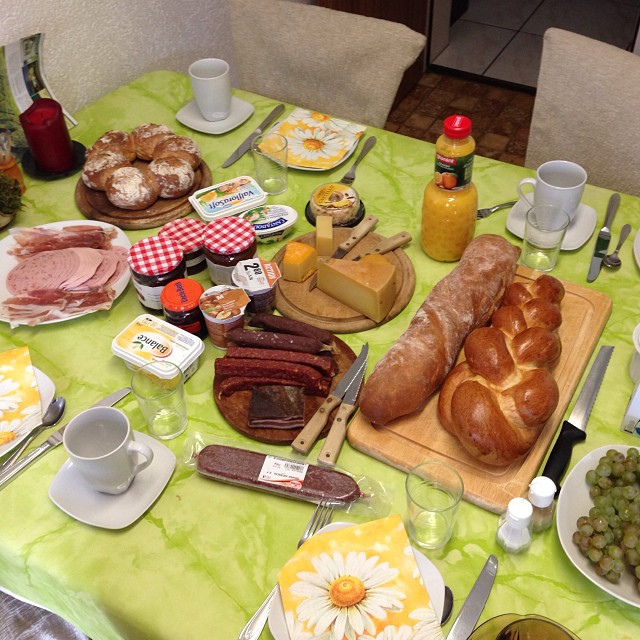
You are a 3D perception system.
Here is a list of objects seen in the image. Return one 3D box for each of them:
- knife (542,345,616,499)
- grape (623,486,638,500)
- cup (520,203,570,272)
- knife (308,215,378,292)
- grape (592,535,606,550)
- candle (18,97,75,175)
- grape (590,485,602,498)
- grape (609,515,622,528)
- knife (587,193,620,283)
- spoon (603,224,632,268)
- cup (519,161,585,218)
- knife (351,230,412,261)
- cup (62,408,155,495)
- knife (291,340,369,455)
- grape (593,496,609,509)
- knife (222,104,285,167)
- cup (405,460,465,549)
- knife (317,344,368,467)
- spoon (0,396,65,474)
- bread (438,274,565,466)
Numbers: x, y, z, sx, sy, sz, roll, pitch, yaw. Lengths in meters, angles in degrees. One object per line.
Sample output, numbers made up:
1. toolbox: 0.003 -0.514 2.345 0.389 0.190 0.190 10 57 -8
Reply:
1. knife: 0.465 0.192 1.013 0.062 0.021 0.396 24 56 28
2. grape: 0.465 0.259 0.843 0.018 0.010 0.018 1 41 -1
3. cup: 0.534 -0.197 1.345 0.104 0.136 0.144 17 50 15
4. knife: 0.055 -0.153 1.346 0.044 0.014 0.334 30 52 23
5. grape: 0.399 0.317 0.803 0.021 0.010 0.017 1 49 7
6. candle: -0.811 -0.541 1.672 0.149 0.180 0.153 -33 56 -25
7. grape: 0.435 0.271 0.889 0.019 0.009 0.017 20 52 -12
8. grape: 0.431 0.294 0.820 0.018 0.009 0.015 10 73 -3
9. knife: 0.697 -0.197 1.385 0.066 0.017 0.412 13 46 21
10. spoon: 0.746 -0.184 1.405 0.045 0.023 0.169 21 50 26
11. cup: 0.569 -0.308 1.410 0.110 0.127 0.164 15 -7 -36
12. knife: 0.153 -0.182 1.408 0.200 0.014 0.032 -26 54 -34
13. cup: -0.328 0.232 0.940 0.168 0.107 0.098 11 41 25
14. knife: 0.066 0.144 1.146 0.059 0.018 0.376 20 44 29
15. grape: 0.426 0.276 0.850 0.018 0.019 0.015 -22 77 -44
16. knife: -0.203 -0.584 1.777 0.073 0.021 0.469 18 48 26
17. cup: 0.181 0.298 0.906 0.089 0.109 0.114 6 48 6
18. knife: 0.050 0.173 1.080 0.032 0.035 0.245 15 47 13
19. spoon: -0.533 0.219 1.115 0.038 0.023 0.201 34 56 11
20. bread: 0.368 0.072 1.085 0.194 0.143 0.453 19 49 18
